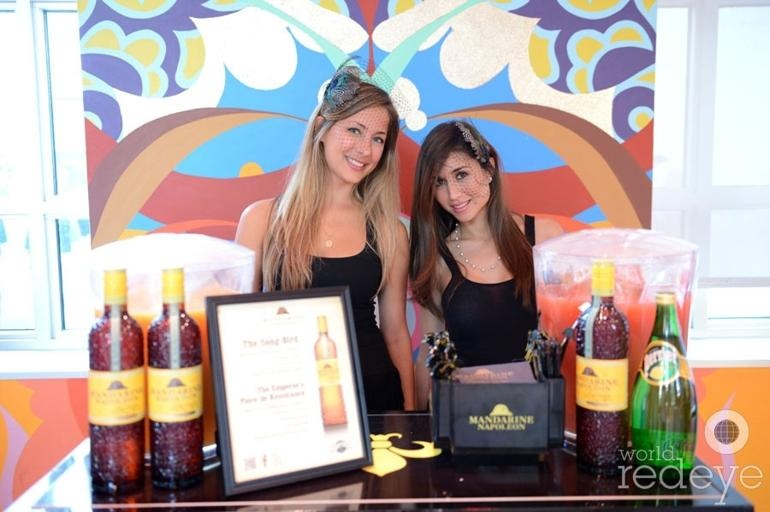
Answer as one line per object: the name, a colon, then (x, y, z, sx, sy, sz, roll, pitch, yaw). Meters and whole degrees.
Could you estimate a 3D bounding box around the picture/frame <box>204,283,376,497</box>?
picture/frame: (-0.335, 0.468, 2.155, 0.604, 0.709, 0.050, -7, -4, -17)

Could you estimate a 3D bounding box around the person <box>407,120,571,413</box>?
person: (0.480, -0.076, 3.354, 0.726, 1.232, 0.355, -3, 2, 1)
